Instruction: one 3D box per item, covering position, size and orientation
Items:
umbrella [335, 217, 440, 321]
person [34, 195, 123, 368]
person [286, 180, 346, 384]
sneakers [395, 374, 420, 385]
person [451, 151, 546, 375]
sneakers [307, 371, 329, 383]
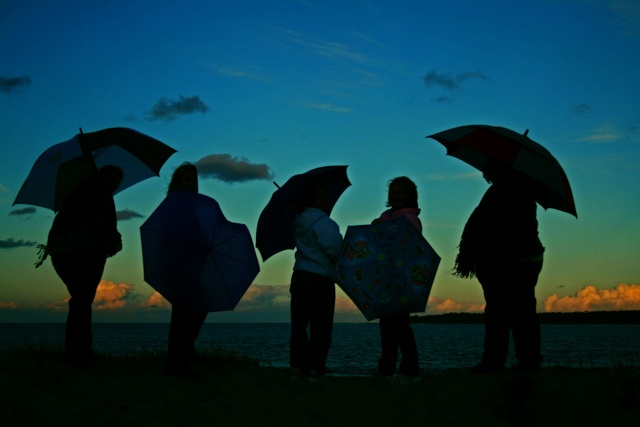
[{"bbox_3d":[1.108,0.957,10.603,1.658,1.734,0.754,0,6,3],"label":"umbrella"},{"bbox_3d":[-4.142,1.159,11.174,1.157,2.932,0.447,-2,6,-20],"label":"person"},{"bbox_3d":[-0.077,1.179,10.984,0.859,3.427,0.897,0,6,-3],"label":"person"},{"bbox_3d":[1.530,2.895,11.088,0.425,0.140,0.154,1,6,5],"label":"sneakers"},{"bbox_3d":[3.325,0.957,11.434,1.429,3.799,0.690,1,6,8],"label":"person"},{"bbox_3d":[-0.012,2.809,11.023,0.194,0.229,0.375,5,8,41],"label":"sneakers"}]
